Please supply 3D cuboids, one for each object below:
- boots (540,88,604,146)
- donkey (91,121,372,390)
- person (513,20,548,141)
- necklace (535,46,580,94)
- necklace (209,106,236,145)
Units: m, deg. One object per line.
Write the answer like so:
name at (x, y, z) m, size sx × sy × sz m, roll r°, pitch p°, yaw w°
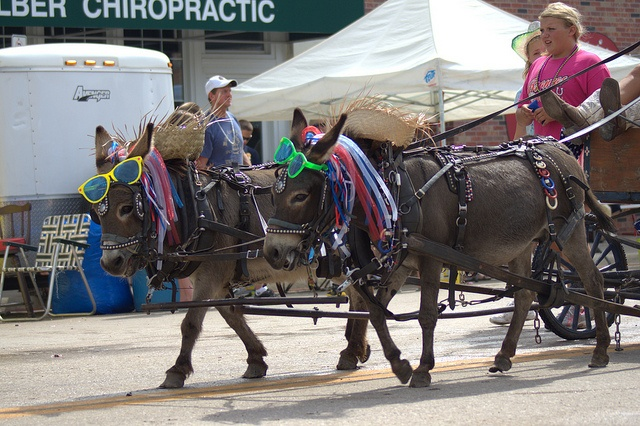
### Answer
boots at (2.916, -1.115, 12.650) m, size 1.291 × 0.618 × 0.417 m, roll 3°, pitch 5°, yaw -29°
donkey at (-0.625, 0.607, 12.713) m, size 3.864 × 2.632 × 0.937 m, roll 3°, pitch -3°, yaw -22°
person at (2.671, -1.691, 14.543) m, size 0.534 × 1.608 × 0.541 m, roll 3°, pitch 2°, yaw 17°
necklace at (2.810, -1.708, 13.086) m, size 0.154 × 0.594 × 0.474 m, roll 30°, pitch 0°, yaw -21°
necklace at (-1.212, -1.066, 13.717) m, size 0.504 × 0.397 × 0.265 m, roll -5°, pitch 7°, yaw -39°
